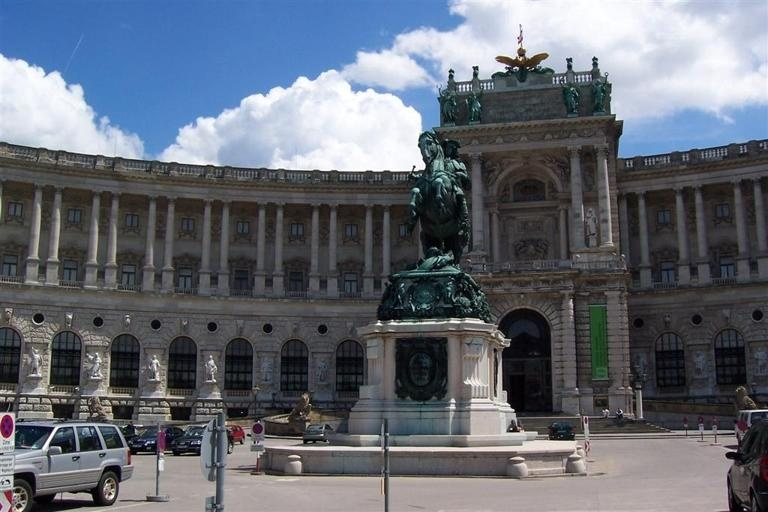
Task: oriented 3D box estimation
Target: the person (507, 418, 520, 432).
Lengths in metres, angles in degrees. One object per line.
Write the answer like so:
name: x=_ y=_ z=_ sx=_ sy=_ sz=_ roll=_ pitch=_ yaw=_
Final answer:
person: x=5.944 y=7.752 z=45.624 sx=0.395 sy=0.551 sz=1.131 roll=-8 pitch=-11 yaw=28
